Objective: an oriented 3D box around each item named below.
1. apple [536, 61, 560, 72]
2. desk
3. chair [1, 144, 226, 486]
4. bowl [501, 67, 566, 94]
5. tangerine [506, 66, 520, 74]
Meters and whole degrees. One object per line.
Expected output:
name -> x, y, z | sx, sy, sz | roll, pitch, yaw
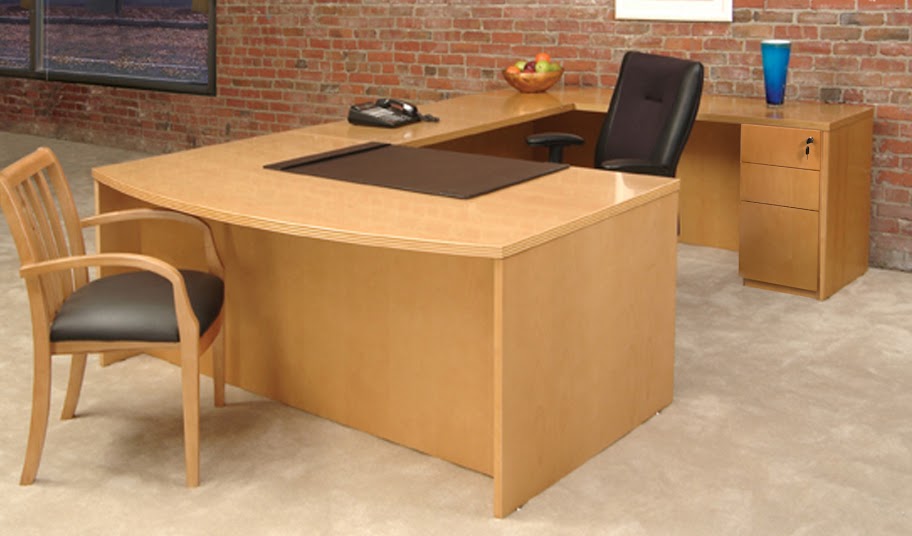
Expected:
apple -> 0.632, -1.382, 5.035 | 0.150, 0.096, 0.106 | -5, 9, 11
desk -> 0.457, -0.180, 4.018 | 3.753, 1.482, 2.224 | -15, 23, -43
chair -> -1.435, 0.144, 3.111 | 0.832, 1.271, 1.045 | -2, 19, -10
bowl -> 0.495, -1.266, 5.013 | 0.276, 0.090, 0.264 | 0, 10, 0
tangerine -> 0.391, -1.377, 5.030 | 0.095, 0.041, 0.084 | 1, 9, 0
